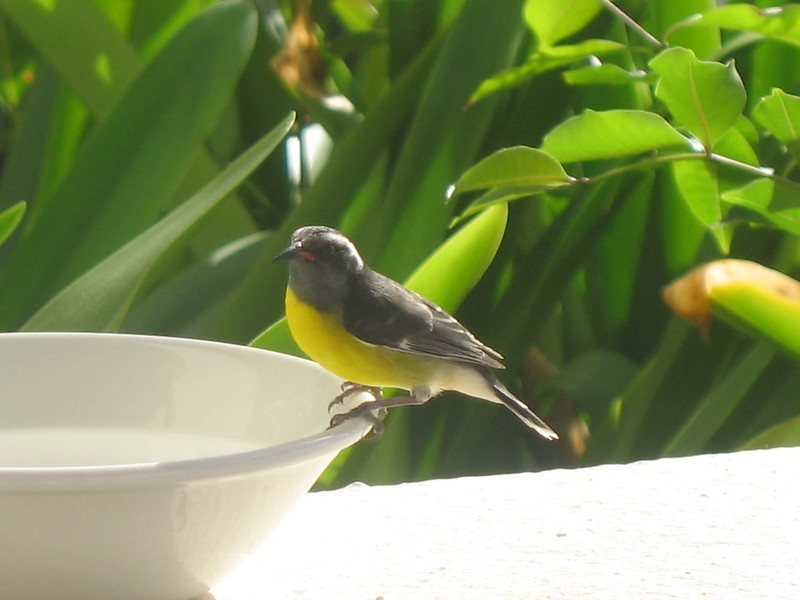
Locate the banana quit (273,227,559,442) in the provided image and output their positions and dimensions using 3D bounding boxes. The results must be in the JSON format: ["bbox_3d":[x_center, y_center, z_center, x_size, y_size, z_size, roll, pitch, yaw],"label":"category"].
[{"bbox_3d":[0.011,0.029,1.028,0.271,0.182,0.099,3,12,-14],"label":"banana quit"}]
